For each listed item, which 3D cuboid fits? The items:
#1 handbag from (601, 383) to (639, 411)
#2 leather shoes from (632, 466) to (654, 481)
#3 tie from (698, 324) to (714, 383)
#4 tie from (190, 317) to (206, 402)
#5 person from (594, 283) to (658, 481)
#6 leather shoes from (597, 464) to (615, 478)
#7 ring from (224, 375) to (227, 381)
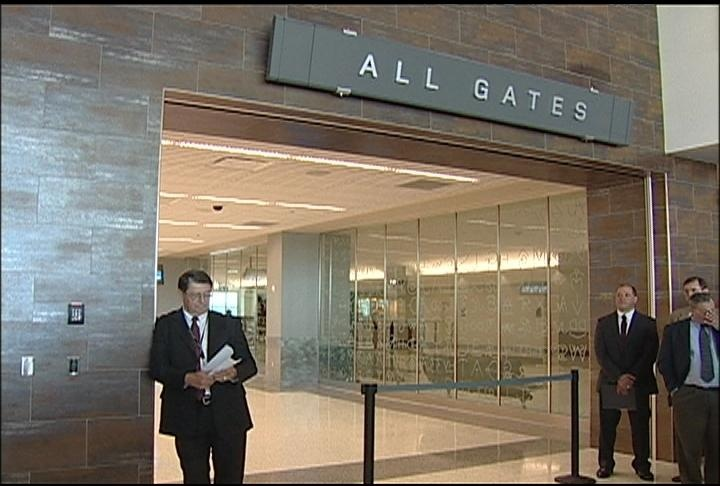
[{"bbox_3d":[3.529,2.110,7.654,0.441,0.359,0.315,-2,-6,24],"label":"handbag"},{"bbox_3d":[3.878,3.153,7.661,0.099,0.096,0.227,2,-6,-38],"label":"leather shoes"},{"bbox_3d":[4.160,1.324,6.729,0.137,0.668,0.115,-2,-5,31],"label":"tie"},{"bbox_3d":[-1.527,1.103,5.304,0.122,0.847,0.114,-7,5,-1],"label":"tie"},{"bbox_3d":[3.708,1.891,7.812,0.879,2.642,0.647,-1,-5,10],"label":"person"},{"bbox_3d":[3.344,3.126,7.662,0.108,0.129,0.310,-10,-23,30],"label":"leather shoes"},{"bbox_3d":[-1.240,1.259,5.209,0.045,0.033,0.047,0,-5,0],"label":"ring"}]
